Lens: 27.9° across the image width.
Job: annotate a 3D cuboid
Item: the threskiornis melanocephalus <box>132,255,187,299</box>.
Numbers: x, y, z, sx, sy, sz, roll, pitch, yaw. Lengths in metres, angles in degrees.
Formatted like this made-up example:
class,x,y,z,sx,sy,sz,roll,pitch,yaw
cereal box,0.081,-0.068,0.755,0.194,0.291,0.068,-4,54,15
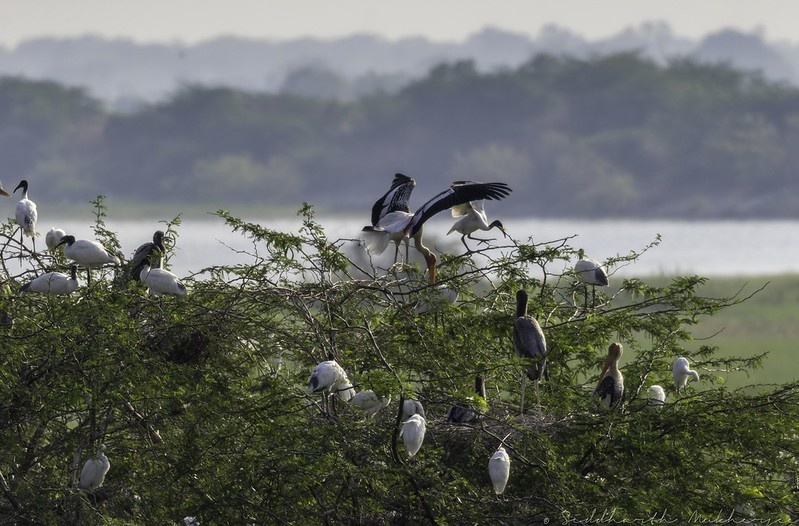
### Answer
class,x,y,z,sx,sy,sz,roll,pitch,yaw
threskiornis melanocephalus,-2.974,0.153,19.925,0.697,0.731,0.280,-2,-15,-1

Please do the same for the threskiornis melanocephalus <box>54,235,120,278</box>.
class,x,y,z,sx,sy,sz,roll,pitch,yaw
threskiornis melanocephalus,-3.951,-0.084,20.552,0.812,0.572,0.375,-3,0,-14

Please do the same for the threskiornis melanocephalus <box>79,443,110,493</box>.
class,x,y,z,sx,sy,sz,roll,pitch,yaw
threskiornis melanocephalus,-3.536,2.372,18.715,0.338,0.535,0.532,-2,0,-11

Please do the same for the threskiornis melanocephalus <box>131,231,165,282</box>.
class,x,y,z,sx,sy,sz,roll,pitch,yaw
threskiornis melanocephalus,-3.144,-0.109,20.385,0.536,0.704,0.339,-1,-30,-8

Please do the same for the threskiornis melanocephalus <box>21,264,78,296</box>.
class,x,y,z,sx,sy,sz,roll,pitch,yaw
threskiornis melanocephalus,-4.364,0.199,20.120,0.704,0.378,1.009,-1,0,-13
